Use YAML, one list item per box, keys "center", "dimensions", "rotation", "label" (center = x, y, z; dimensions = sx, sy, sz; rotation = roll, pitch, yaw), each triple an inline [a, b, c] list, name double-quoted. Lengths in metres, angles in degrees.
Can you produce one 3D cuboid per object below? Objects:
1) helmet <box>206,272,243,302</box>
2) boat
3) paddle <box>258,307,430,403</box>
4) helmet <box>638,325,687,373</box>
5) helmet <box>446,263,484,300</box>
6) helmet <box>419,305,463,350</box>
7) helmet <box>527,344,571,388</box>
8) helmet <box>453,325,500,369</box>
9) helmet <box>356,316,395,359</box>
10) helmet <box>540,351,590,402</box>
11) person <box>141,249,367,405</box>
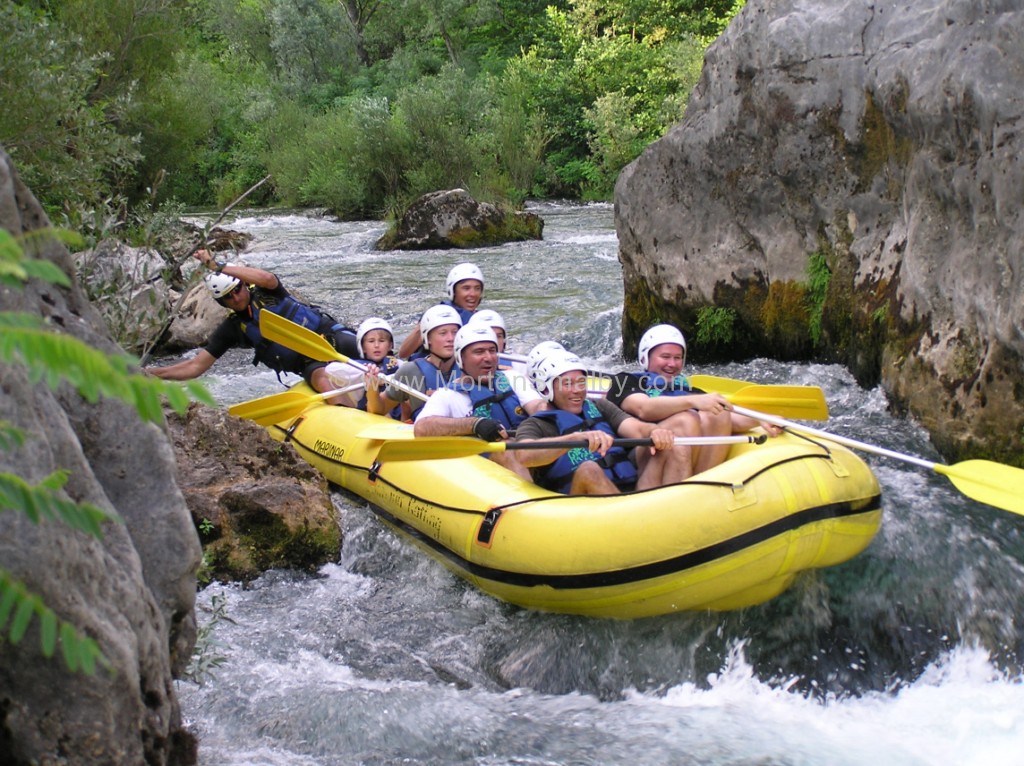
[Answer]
- center: [-2.398, -0.798, 9.614]
  dimensions: [0.293, 0.224, 0.129]
  rotation: [1, 11, 24]
  label: "helmet"
- center: [0.287, 0.825, 7.408]
  dimensions: [1.468, 0.700, 2.518]
  rotation: [-1, 4, -35]
  label: "boat"
- center: [-1.454, -0.208, 9.677]
  dimensions: [1.962, 0.295, 0.141]
  rotation: [27, 38, 19]
  label: "paddle"
- center: [1.014, -0.244, 7.945]
  dimensions: [0.243, 0.332, 0.283]
  rotation: [9, 4, -9]
  label: "helmet"
- center: [-0.378, -0.881, 10.045]
  dimensions: [0.318, 0.385, 0.449]
  rotation: [1, 20, -13]
  label: "helmet"
- center: [-0.518, -0.443, 8.573]
  dimensions: [0.228, 0.341, 0.260]
  rotation: [1, 19, -11]
  label: "helmet"
- center: [0.225, -0.130, 7.594]
  dimensions: [0.209, 0.281, 0.247]
  rotation: [5, 36, 0]
  label: "helmet"
- center: [-0.244, -0.274, 7.914]
  dimensions: [0.203, 0.284, 0.255]
  rotation: [1, 52, -13]
  label: "helmet"
- center: [-1.153, -0.423, 9.801]
  dimensions: [0.277, 0.397, 0.329]
  rotation: [0, 14, -9]
  label: "helmet"
- center: [0.327, -0.036, 7.388]
  dimensions: [0.230, 0.331, 0.295]
  rotation: [0, -6, -2]
  label: "helmet"
- center: [-2.324, -0.480, 10.442]
  dimensions: [1.891, 0.880, 0.808]
  rotation: [23, 15, -40]
  label: "person"
